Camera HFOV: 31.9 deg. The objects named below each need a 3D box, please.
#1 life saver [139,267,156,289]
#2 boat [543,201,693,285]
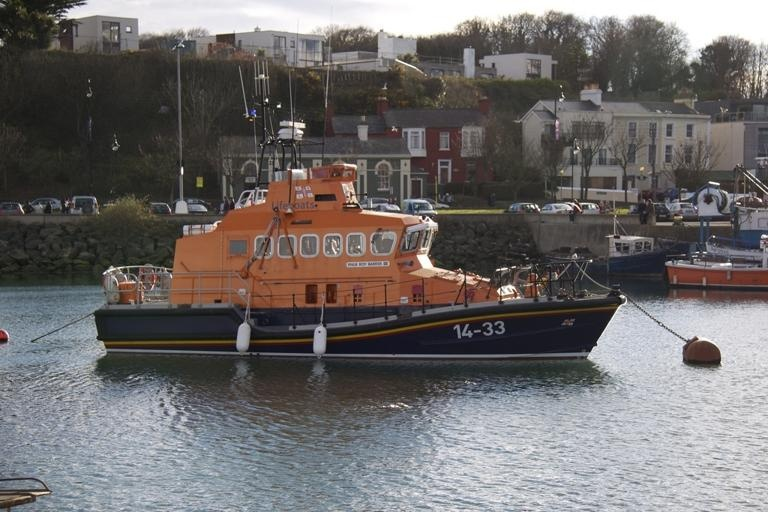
[{"bbox_3d":[-10.217,0.932,57.125,0.968,1.228,0.320,5,46,-4],"label":"life saver"},{"bbox_3d":[13.996,-0.476,72.782,11.001,3.948,2.818,3,8,35],"label":"boat"}]
